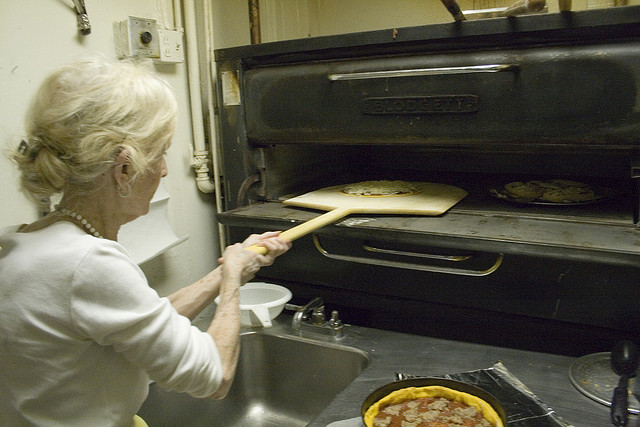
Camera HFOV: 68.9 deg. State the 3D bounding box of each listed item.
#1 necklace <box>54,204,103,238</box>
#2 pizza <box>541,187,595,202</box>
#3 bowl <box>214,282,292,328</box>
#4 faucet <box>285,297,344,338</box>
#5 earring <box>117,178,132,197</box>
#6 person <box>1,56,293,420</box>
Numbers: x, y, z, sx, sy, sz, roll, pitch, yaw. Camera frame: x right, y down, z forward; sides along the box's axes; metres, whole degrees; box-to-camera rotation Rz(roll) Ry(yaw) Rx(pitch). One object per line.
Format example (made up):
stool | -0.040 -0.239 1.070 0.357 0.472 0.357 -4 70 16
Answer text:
necklace | -0.596 0.021 1.145 0.101 0.085 0.026 3 23 9
pizza | 0.900 -0.072 1.701 0.125 0.017 0.074 3 21 16
bowl | -0.218 0.367 1.759 0.266 0.088 0.292 -5 21 2
faucet | 0.006 0.382 1.758 0.198 0.110 0.186 3 17 10
earring | -0.476 -0.063 1.139 0.031 0.050 0.013 -19 29 -39
person | -0.494 0.079 1.129 0.550 0.896 0.421 2 22 7
